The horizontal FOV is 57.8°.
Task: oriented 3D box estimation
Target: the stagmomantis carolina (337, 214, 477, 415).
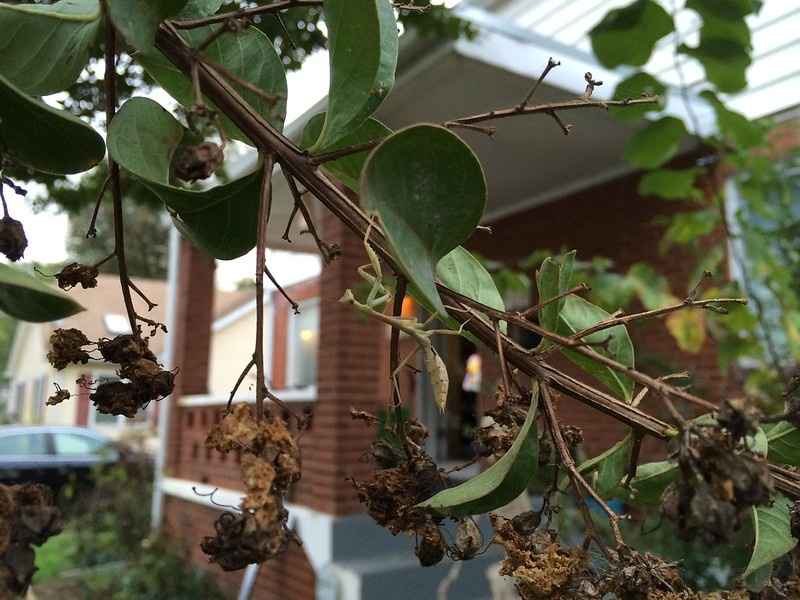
[{"bbox_3d":[0.016,0.043,1.129,0.104,0.237,0.193,-5,0,-34],"label":"stagmomantis carolina"}]
